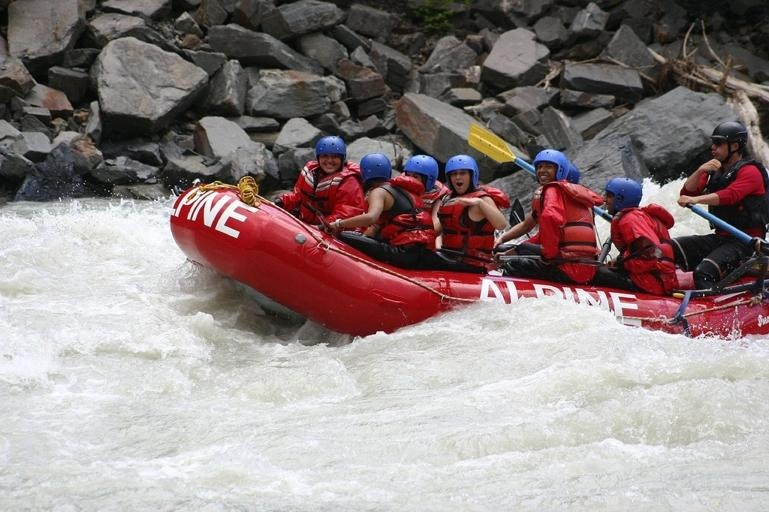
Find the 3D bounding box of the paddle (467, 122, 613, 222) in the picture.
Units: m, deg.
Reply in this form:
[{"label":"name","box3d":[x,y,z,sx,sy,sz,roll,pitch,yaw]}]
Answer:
[{"label":"paddle","box3d":[2.656,-1.255,17.132,3.280,0.202,0.397,24,18,-11]}]

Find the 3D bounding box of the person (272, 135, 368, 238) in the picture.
[{"label":"person","box3d":[-0.897,-0.946,15.405,1.327,1.417,1.128,27,39,31]}]

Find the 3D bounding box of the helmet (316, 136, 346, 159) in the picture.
[{"label":"helmet","box3d":[-0.776,-1.559,15.379,0.354,0.290,0.363,0,-13,1]}]

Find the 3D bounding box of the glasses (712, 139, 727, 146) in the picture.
[{"label":"glasses","box3d":[4.756,-1.628,15.230,0.205,0.056,0.122,2,2,3]}]

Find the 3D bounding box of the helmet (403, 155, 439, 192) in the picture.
[{"label":"helmet","box3d":[0.580,-1.222,15.088,0.630,0.439,0.472,-11,21,-21]}]

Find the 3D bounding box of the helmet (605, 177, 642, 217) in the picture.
[{"label":"helmet","box3d":[3.299,-0.883,15.138,0.646,0.459,0.441,6,3,19]}]
